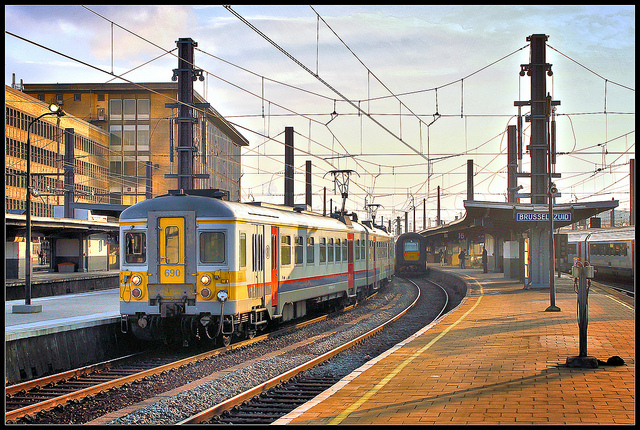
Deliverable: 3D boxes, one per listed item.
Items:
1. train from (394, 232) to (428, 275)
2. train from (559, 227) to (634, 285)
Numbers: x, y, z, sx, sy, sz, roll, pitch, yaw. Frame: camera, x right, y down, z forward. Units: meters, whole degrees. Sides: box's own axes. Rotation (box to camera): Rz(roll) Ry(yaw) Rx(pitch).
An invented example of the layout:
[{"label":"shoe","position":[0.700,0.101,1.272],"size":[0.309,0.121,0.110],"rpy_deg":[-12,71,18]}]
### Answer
[{"label":"train","position":[7.064,3.391,58.625],"size":[2.373,3.306,1.509],"rpy_deg":[6,2,35]},{"label":"train","position":[17.268,2.751,46.719],"size":[1.698,3.815,14.935],"rpy_deg":[6,0,7]}]
